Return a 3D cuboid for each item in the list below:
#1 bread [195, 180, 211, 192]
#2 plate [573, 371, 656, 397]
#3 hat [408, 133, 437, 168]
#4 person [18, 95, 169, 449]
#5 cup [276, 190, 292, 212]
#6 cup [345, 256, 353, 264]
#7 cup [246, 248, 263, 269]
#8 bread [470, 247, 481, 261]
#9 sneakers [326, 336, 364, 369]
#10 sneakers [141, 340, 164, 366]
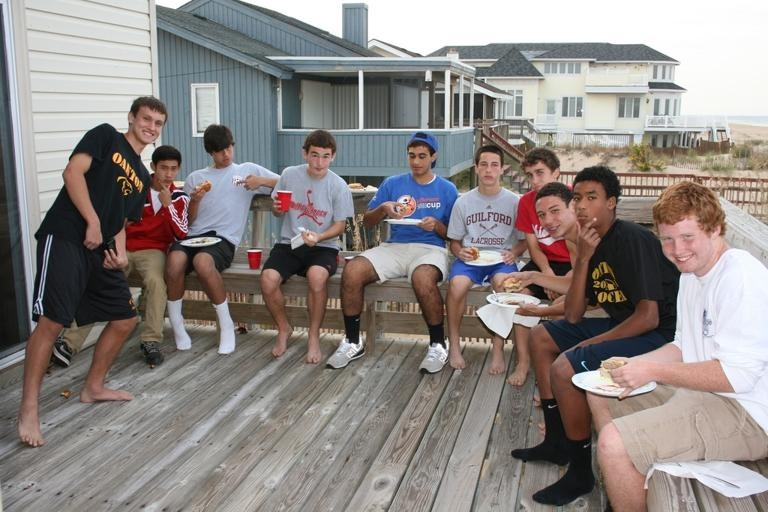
[{"bbox_3d":[-1.644,-0.638,4.820,0.103,0.066,0.107,-22,27,24],"label":"bread"},{"bbox_3d":[1.141,0.627,2.603,0.189,0.028,0.196,10,12,39],"label":"plate"},{"bbox_3d":[0.322,-1.005,4.868,0.247,0.327,0.348,9,31,27],"label":"hat"},{"bbox_3d":[-2.114,0.032,3.768,0.362,2.275,1.293,10,19,35],"label":"person"},{"bbox_3d":[-0.921,-0.502,4.813,0.181,0.174,0.175,1,8,0],"label":"cup"},{"bbox_3d":[-0.321,0.030,4.812,0.064,0.055,0.078,8,12,29],"label":"cup"},{"bbox_3d":[-1.251,0.017,5.125,0.189,0.175,0.184,4,14,-1],"label":"cup"},{"bbox_3d":[0.783,-0.023,4.563,0.080,0.096,0.105,-5,-8,4],"label":"bread"},{"bbox_3d":[-0.344,0.863,4.730,0.163,0.185,0.470,9,16,30],"label":"sneakers"},{"bbox_3d":[-2.086,0.856,4.710,0.115,0.141,0.307,-11,13,-36],"label":"sneakers"}]
